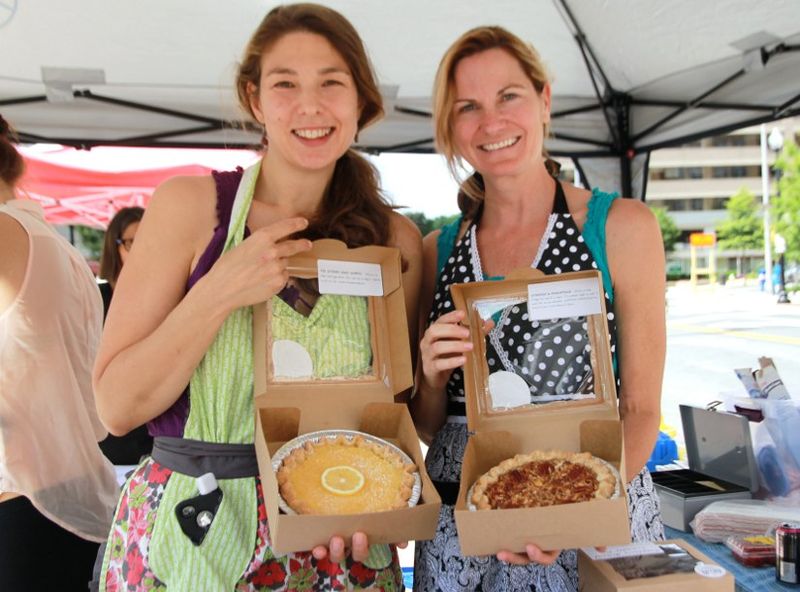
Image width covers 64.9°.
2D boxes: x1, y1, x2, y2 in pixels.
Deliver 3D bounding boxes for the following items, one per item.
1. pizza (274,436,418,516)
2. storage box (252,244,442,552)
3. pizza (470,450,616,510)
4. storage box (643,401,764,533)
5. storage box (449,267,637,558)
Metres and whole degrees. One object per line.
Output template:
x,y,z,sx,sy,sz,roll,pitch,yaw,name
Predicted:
-0.212,0.696,2.522,0.573,0.267,0.315,0,-1,-12,pizza
-0.238,0.363,2.486,0.656,0.679,1.040,1,31,-12,storage box
0.581,0.751,2.571,0.610,0.182,0.318,-1,-2,5,pizza
1.982,1.124,4.273,0.550,0.755,0.742,1,-5,-5,storage box
0.574,0.458,2.682,0.642,0.482,1.165,-9,24,18,storage box
